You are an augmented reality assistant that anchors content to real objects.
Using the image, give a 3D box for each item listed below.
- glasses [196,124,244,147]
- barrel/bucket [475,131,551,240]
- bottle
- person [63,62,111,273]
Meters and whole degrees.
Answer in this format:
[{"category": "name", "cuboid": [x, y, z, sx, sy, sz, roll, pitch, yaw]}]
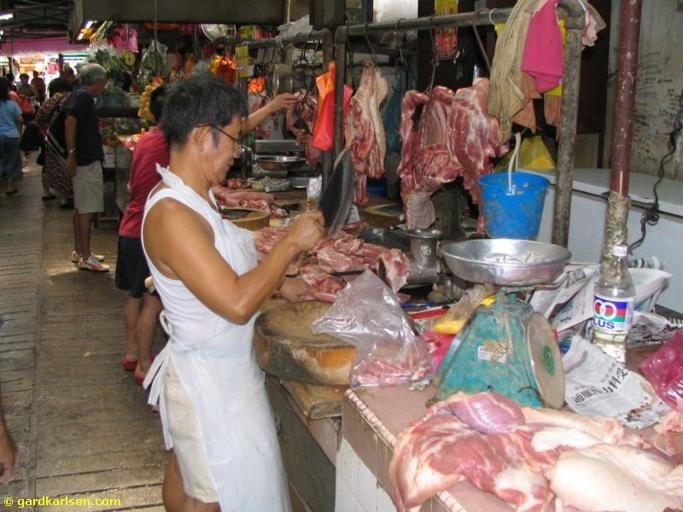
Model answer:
[{"category": "glasses", "cuboid": [-0.457, -0.465, 2.196, 0.061, 0.075, 0.202, 8, 16, 36]}, {"category": "barrel/bucket", "cuboid": [0.719, -0.238, 2.395, 0.267, 0.324, 0.213, -7, 14, -28]}, {"category": "bottle", "cuboid": [1.049, 0.187, 2.217, 0.138, 0.473, 0.201, 5, 13, 25]}, {"category": "person", "cuboid": [-2.864, -0.974, 6.523, 0.548, 2.349, 0.694, -7, 13, -25]}]
